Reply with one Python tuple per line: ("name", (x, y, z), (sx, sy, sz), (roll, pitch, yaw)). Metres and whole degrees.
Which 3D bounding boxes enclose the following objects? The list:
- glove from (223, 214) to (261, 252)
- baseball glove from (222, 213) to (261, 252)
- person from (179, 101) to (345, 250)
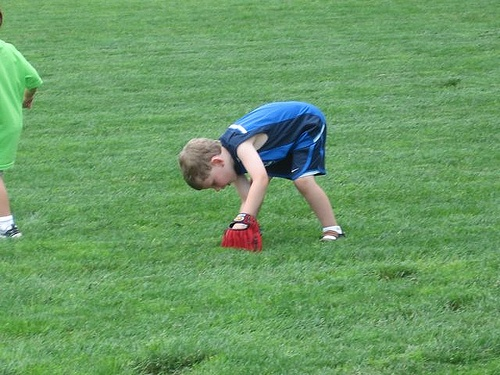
("glove", (-0.021, 0.316, 5.852), (0.281, 0.184, 0.295), (-3, 7, 9))
("baseball glove", (-0.116, 0.294, 6.010), (0.244, 0.219, 0.244), (-3, 41, -21))
("person", (-0.021, -0.094, 6.150), (0.881, 0.900, 1.362), (14, 15, 34))
